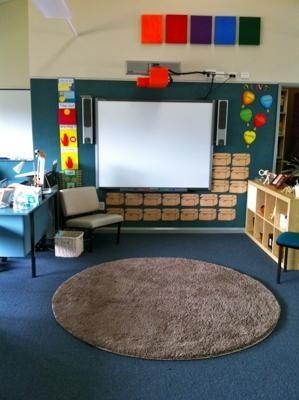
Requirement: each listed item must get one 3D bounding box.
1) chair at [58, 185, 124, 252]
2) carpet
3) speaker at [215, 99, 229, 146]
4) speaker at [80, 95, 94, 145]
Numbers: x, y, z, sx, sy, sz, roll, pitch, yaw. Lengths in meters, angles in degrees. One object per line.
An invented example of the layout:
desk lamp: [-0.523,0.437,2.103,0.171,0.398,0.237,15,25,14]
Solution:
chair: [-0.794,0.230,4.320,0.568,0.817,0.791,1,5,20]
carpet: [0.158,0.846,2.547,1.885,0.057,1.443,-1,7,-8]
speaker: [1.070,-1.141,4.636,0.171,0.636,0.124,-1,7,-6]
speaker: [-0.910,-1.173,4.583,0.182,0.667,0.138,-1,7,-8]
